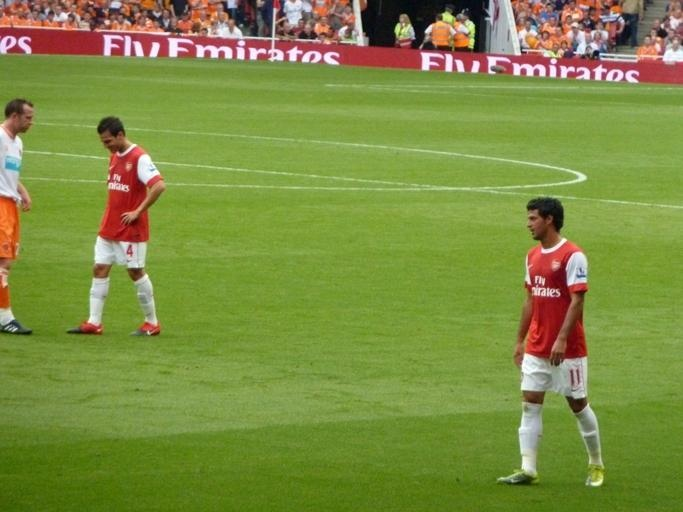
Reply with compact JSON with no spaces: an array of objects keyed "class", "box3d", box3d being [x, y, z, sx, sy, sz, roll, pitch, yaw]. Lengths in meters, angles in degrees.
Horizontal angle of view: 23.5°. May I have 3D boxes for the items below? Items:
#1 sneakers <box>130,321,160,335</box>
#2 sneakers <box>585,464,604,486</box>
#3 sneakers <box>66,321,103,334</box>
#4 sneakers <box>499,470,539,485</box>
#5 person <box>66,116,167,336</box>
[{"class":"sneakers","box3d":[-2.586,0.952,21.455,0.388,0.145,0.143,-1,-5,16]},{"class":"sneakers","box3d":[2.837,2.428,18.098,0.267,0.235,0.178,-1,1,9]},{"class":"sneakers","box3d":[-3.334,0.923,21.347,0.481,0.168,0.169,3,1,4]},{"class":"sneakers","box3d":[1.961,2.444,18.117,0.471,0.173,0.159,2,-4,-1]},{"class":"person","box3d":[-2.827,-0.366,21.109,1.088,2.847,0.589,0,8,-4]}]
